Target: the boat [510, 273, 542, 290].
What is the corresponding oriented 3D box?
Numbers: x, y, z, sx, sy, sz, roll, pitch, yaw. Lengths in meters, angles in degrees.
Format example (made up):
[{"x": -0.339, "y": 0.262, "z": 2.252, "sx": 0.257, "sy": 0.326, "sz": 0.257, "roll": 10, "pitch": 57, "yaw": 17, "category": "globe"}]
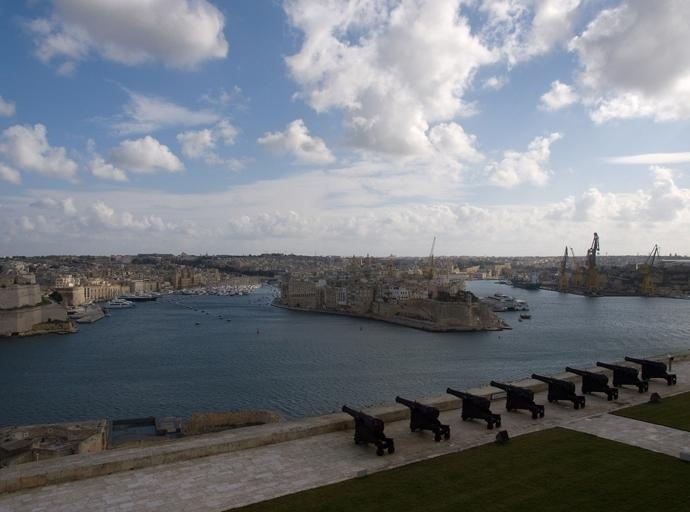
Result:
[{"x": 50.252, "y": 7.666, "z": 125.416, "sx": 3.774, "sy": 4.970, "sz": 12.655, "roll": 0, "pitch": 3, "yaw": -1, "category": "boat"}]
